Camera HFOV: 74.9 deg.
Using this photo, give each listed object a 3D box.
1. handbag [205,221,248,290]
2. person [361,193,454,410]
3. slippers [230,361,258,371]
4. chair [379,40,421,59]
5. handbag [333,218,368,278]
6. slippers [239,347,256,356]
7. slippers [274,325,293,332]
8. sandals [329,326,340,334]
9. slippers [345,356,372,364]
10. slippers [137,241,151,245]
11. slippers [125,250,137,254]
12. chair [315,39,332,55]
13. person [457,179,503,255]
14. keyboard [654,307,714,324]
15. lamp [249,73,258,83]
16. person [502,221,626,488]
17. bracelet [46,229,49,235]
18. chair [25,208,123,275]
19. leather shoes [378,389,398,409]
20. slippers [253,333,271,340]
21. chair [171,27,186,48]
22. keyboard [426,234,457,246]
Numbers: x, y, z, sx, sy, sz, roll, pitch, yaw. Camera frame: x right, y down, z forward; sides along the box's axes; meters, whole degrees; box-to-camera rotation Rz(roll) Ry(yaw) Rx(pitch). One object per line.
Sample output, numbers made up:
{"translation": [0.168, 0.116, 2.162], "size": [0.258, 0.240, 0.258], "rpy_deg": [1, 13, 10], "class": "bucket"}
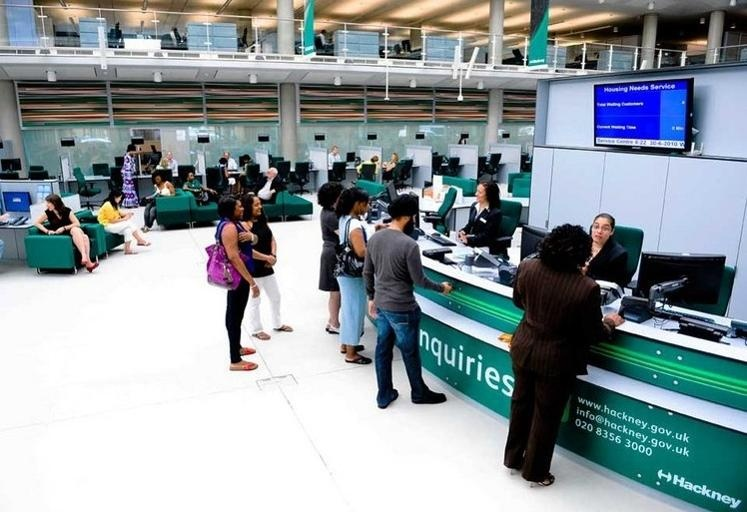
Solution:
{"translation": [-1.599, 0.038, 5.061], "size": [0.406, 0.620, 0.183], "rpy_deg": [10, 20, 34], "class": "handbag"}
{"translation": [0.277, 0.461, 4.541], "size": [0.806, 2.046, 0.429], "rpy_deg": [1, 17, 9], "class": "person"}
{"translation": [-1.424, 1.205, 5.351], "size": [0.224, 0.051, 0.121], "rpy_deg": [-2, 15, -2], "class": "slippers"}
{"translation": [0.940, -6.683, 16.048], "size": [1.592, 0.560, 1.083], "rpy_deg": [-12, 32, -32], "class": "chair"}
{"translation": [-0.242, -0.082, 5.140], "size": [0.287, 0.542, 0.472], "rpy_deg": [-13, 27, -20], "class": "handbag"}
{"translation": [-1.446, 1.091, 5.600], "size": [0.159, 0.041, 0.071], "rpy_deg": [-15, 30, -23], "class": "slippers"}
{"translation": [-1.140, 0.920, 6.207], "size": [0.172, 0.060, 0.099], "rpy_deg": [-3, 9, -4], "class": "slippers"}
{"translation": [-0.499, 0.926, 6.104], "size": [0.189, 0.076, 0.064], "rpy_deg": [-3, 18, -12], "class": "sandals"}
{"translation": [-0.166, 1.148, 5.461], "size": [0.234, 0.062, 0.106], "rpy_deg": [-1, 11, -2], "class": "slippers"}
{"translation": [-4.654, -0.251, 9.892], "size": [0.218, 0.086, 0.075], "rpy_deg": [-5, 25, -9], "class": "slippers"}
{"translation": [-4.675, -0.077, 9.402], "size": [0.172, 0.066, 0.080], "rpy_deg": [-10, 25, -18], "class": "slippers"}
{"translation": [-1.517, -6.489, 15.092], "size": [0.553, 0.589, 0.645], "rpy_deg": [-3, 16, -6], "class": "chair"}
{"translation": [1.429, -0.531, 6.513], "size": [0.531, 0.888, 0.941], "rpy_deg": [2, 16, 12], "class": "person"}
{"translation": [2.591, 0.502, 4.097], "size": [0.338, 0.085, 0.077], "rpy_deg": [6, 34, 15], "class": "keyboard"}
{"translation": [-3.724, -5.498, 15.193], "size": [0.239, 0.223, 1.507], "rpy_deg": [-5, 16, -12], "class": "lamp"}
{"translation": [1.396, 0.797, 3.745], "size": [0.674, 2.058, 0.482], "rpy_deg": [3, 17, 15], "class": "person"}
{"translation": [-5.512, -0.410, 8.246], "size": [0.063, 0.087, 0.030], "rpy_deg": [-10, -23, 28], "class": "bracelet"}
{"translation": [-5.244, -0.235, 8.442], "size": [0.520, 0.428, 1.139], "rpy_deg": [5, 19, -1], "class": "chair"}
{"translation": [0.141, 1.373, 4.818], "size": [0.099, 0.156, 0.260], "rpy_deg": [10, 23, 30], "class": "leather shoes"}
{"translation": [-1.365, 0.970, 5.983], "size": [0.152, 0.059, 0.085], "rpy_deg": [1, 19, 19], "class": "slippers"}
{"translation": [-5.285, -5.848, 13.225], "size": [0.342, 0.499, 0.486], "rpy_deg": [-10, 18, -29], "class": "chair"}
{"translation": [0.842, -0.197, 6.079], "size": [0.147, 0.038, 0.260], "rpy_deg": [-8, 21, -27], "class": "keyboard"}
